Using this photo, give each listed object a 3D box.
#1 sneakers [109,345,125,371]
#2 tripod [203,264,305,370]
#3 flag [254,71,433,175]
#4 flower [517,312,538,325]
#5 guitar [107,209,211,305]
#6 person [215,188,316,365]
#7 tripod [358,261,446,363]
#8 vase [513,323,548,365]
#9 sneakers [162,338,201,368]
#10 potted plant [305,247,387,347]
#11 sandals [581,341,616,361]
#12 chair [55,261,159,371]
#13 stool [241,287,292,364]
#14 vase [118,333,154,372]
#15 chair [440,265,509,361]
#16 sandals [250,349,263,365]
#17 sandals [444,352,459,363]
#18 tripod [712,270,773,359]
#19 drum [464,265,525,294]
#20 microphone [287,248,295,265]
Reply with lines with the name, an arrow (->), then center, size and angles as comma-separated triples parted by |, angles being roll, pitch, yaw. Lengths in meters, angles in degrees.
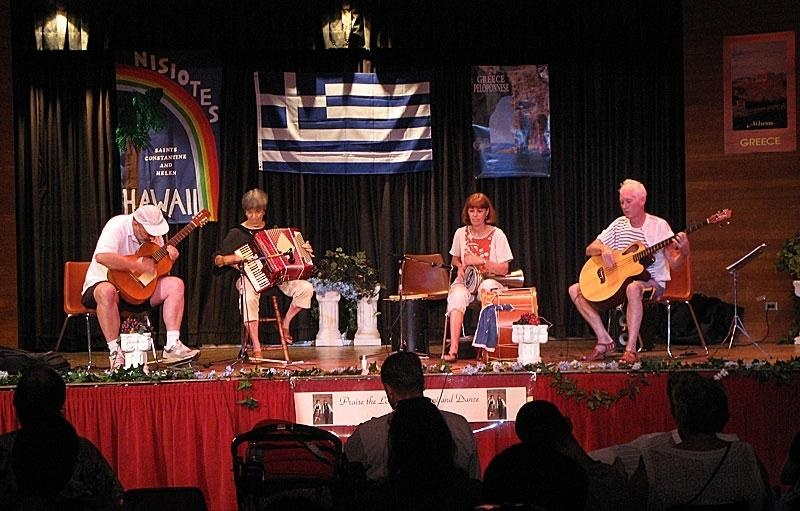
sneakers -> -2.799, 1.034, 7.870 | 0.189, 0.251, 0.093 | -1, -20, 6
tripod -> -1.477, 0.673, 9.225 | 0.991, 1.525, 1.139 | -3, -3, 9
flag -> -0.736, -1.715, 10.556 | 2.215, 1.367, 0.039 | 1, 8, 4
flower -> 1.303, 0.657, 8.173 | 0.156, 0.079, 0.122 | 5, -1, -2
guitar -> -2.519, -0.030, 8.571 | 1.485, 0.581, 0.205 | -52, 6, -28
person -> -1.528, 0.189, 8.985 | 1.023, 1.769, 0.989 | -5, 9, -20
tripod -> 0.135, 0.568, 9.328 | 0.697, 1.060, 0.683 | 0, -3, 16
vase -> 1.316, 0.917, 8.147 | 0.375, 0.399, 0.370 | 2, -11, 6
sneakers -> -2.351, 1.053, 8.508 | 0.479, 0.239, 0.181 | -4, 4, 11
potted plant -> -0.699, 0.568, 10.577 | 1.311, 1.783, 1.070 | 0, -1, -7
sandals -> 2.119, 1.021, 8.444 | 0.406, 0.173, 0.147 | -2, -1, -9
chair -> -3.332, 0.606, 8.765 | 0.650, 0.938, 0.593 | 4, 3, 31
stool -> -1.460, 0.833, 8.969 | 0.516, 0.737, 0.508 | -11, 8, 10
vase -> -2.580, 0.939, 7.915 | 0.299, 0.416, 0.294 | -3, 12, -16
chair -> 0.734, 0.643, 8.890 | 0.812, 0.993, 0.386 | -2, -1, -26
sandals -> -1.521, 1.102, 8.587 | 0.131, 0.150, 0.136 | 1, -2, -25
sandals -> 0.545, 1.112, 8.655 | 0.133, 0.085, 0.080 | 1, -1, 12
tripod -> 3.799, 0.583, 8.920 | 0.742, 1.019, 0.626 | -6, 1, -13
drum -> 1.039, 0.261, 9.003 | 0.693, 0.294, 0.285 | -1, 10, -21
microphone -> -1.179, 0.019, 8.627 | 0.085, 0.148, 0.036 | -2, -1, -41
